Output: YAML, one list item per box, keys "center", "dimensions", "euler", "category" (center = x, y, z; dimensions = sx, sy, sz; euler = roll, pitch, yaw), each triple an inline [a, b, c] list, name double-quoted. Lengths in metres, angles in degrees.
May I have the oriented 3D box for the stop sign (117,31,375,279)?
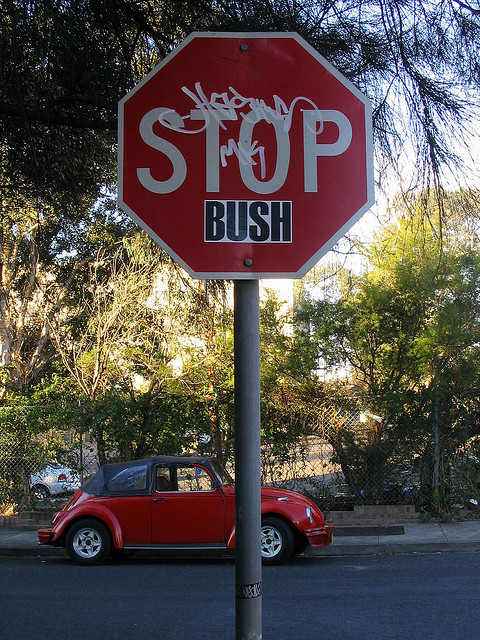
- center: [0.012, -0.433, 2.206]
  dimensions: [0.658, 0.670, 0.107]
  euler: [-2, -3, 4]
  category: "stop sign"

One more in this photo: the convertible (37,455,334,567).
- center: [-0.665, 2.386, 10.308]
  dimensions: [3.433, 1.427, 1.491]
  euler: [-1, -21, 2]
  category: "convertible"

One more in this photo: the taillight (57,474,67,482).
- center: [-2.823, 2.497, 13.425]
  dimensions: [0.164, 0.179, 0.091]
  euler: [0, -3, 0]
  category: "taillight"
